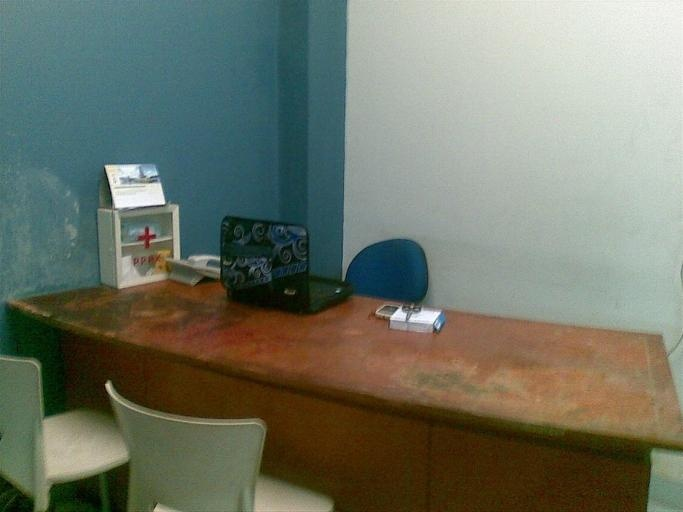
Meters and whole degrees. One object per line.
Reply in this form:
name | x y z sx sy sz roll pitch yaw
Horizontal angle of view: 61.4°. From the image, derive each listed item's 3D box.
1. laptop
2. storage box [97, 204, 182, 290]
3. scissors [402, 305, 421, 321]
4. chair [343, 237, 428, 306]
laptop | -0.242 -0.053 2.573 0.492 0.419 0.426 7 11 33
storage box | -0.988 -0.037 2.780 0.128 0.380 0.387 2 5 39
scissors | 0.279 0.236 2.384 0.043 0.026 0.072 4 25 18
chair | 0.272 0.081 3.316 0.378 0.434 0.408 13 31 23
